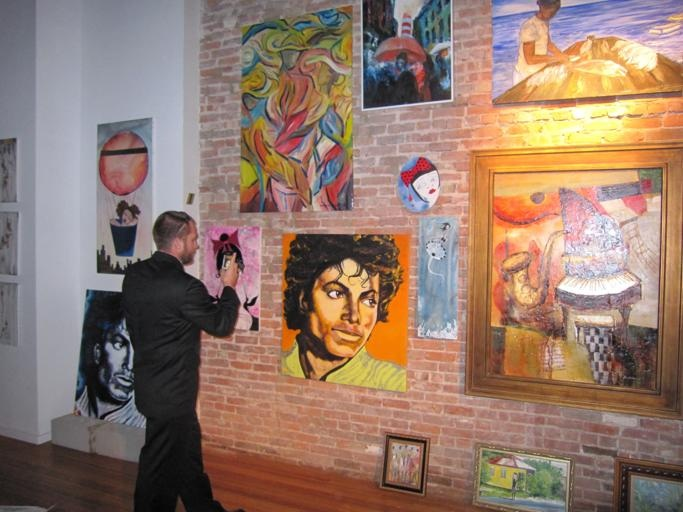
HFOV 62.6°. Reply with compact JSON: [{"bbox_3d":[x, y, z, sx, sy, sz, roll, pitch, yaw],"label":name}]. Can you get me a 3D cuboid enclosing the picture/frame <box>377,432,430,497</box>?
[{"bbox_3d":[0.534,1.753,4.716,0.461,0.576,0.043,2,-6,20],"label":"picture/frame"}]
